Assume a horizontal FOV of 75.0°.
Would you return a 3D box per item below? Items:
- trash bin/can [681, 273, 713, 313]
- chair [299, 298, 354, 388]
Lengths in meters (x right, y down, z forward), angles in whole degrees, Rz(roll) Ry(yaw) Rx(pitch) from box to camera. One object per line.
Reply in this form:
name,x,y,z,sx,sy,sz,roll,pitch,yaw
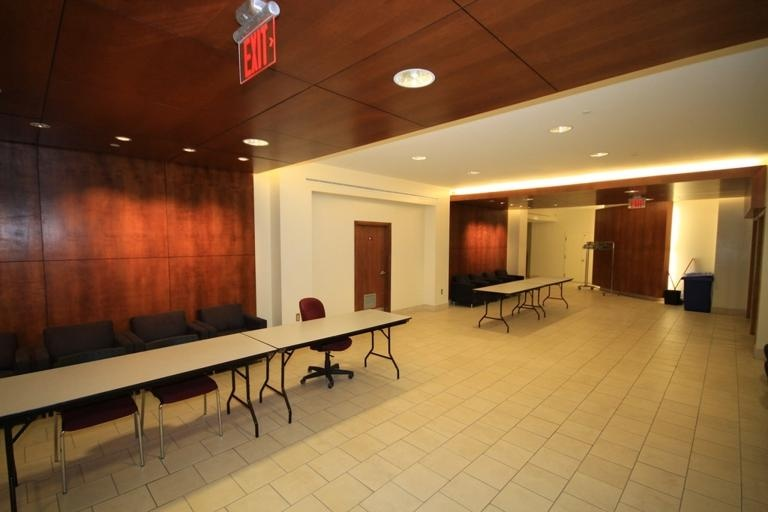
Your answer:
trash bin/can,7.398,0.878,11.837,0.623,0.869,0.269,4,8,28
chair,-0.899,1.280,7.488,0.866,1.139,0.882,9,9,37
